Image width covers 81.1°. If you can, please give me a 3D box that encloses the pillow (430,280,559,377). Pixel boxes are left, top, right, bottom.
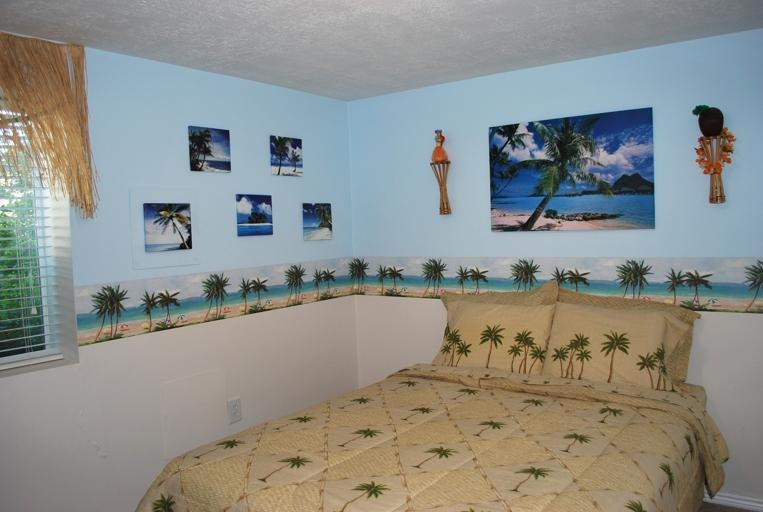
[{"bbox_3d":[0.853,0.462,3.306,0.767,0.689,0.218,-4,-38,33],"label":"pillow"}]
